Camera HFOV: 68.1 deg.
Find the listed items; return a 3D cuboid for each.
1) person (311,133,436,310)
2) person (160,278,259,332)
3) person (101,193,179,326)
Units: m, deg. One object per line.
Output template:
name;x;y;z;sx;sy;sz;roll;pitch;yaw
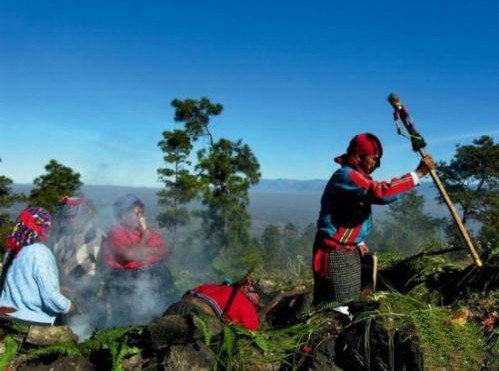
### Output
person;1.260;0.440;4.307;0.892;2.099;0.942;2;-2;-10
person;-0.436;1.399;4.327;0.952;0.479;0.744;-1;-3;44
person;-1.695;1.125;5.635;0.979;1.945;0.540;3;-2;-23
